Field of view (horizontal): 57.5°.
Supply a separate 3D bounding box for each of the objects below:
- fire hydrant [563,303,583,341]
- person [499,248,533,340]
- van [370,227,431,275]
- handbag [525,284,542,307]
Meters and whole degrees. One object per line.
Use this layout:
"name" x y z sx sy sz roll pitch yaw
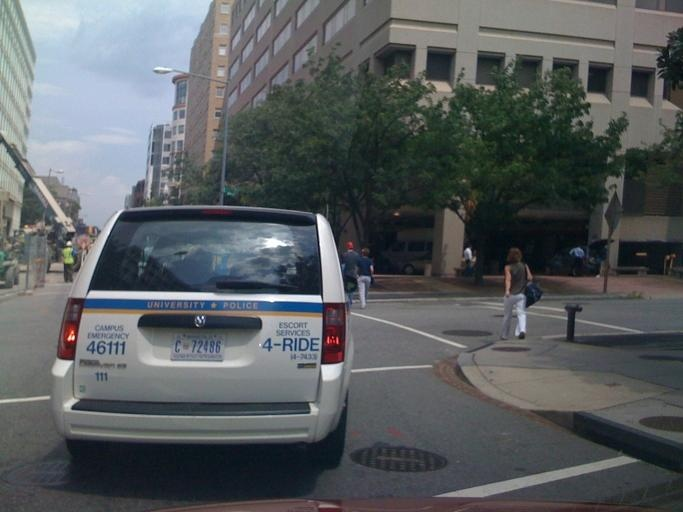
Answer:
"fire hydrant" 4.651 1.297 12.514 0.288 0.577 0.599 1 0 23
"person" 3.666 0.748 13.039 0.562 1.349 1.006 1 1 17
"van" 3.759 -0.271 37.741 3.711 1.942 2.253 1 1 8
"handbag" 4.032 0.786 13.147 0.283 0.366 0.338 1 0 18
